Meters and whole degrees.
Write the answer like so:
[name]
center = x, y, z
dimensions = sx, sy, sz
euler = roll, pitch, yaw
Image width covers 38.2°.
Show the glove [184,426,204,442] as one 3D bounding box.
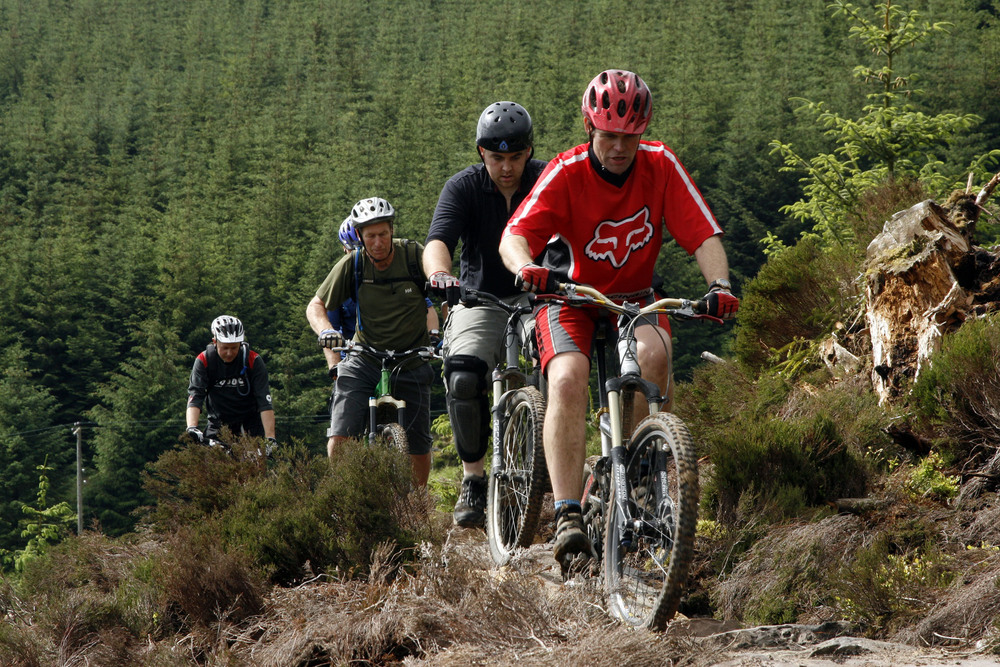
[glove]
center = -12.708, 4.249, 60.090
dimensions = 0.743, 0.302, 0.435
euler = 35, 29, 30
